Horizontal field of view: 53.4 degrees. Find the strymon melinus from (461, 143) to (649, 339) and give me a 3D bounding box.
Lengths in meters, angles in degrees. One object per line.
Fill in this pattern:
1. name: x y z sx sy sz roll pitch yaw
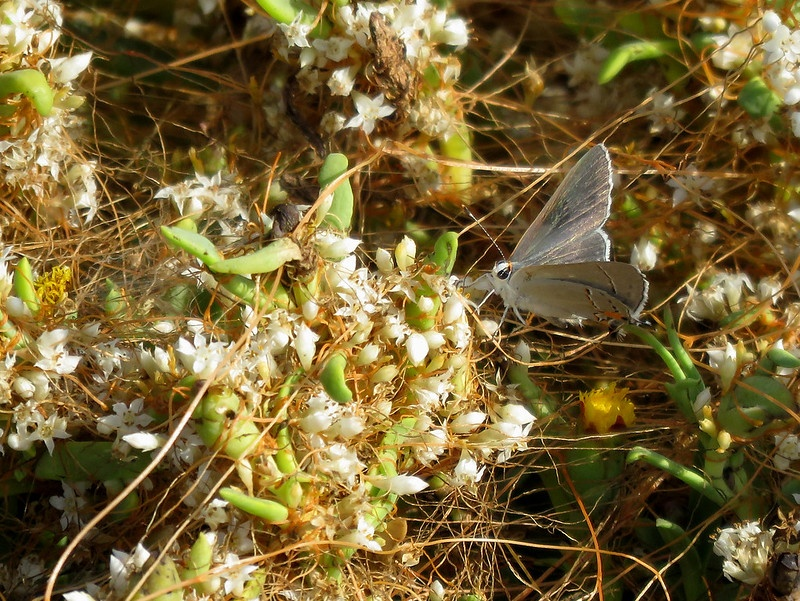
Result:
1. strymon melinus: 0.215 -0.062 1.251 0.229 0.270 0.259 -12 79 -9
